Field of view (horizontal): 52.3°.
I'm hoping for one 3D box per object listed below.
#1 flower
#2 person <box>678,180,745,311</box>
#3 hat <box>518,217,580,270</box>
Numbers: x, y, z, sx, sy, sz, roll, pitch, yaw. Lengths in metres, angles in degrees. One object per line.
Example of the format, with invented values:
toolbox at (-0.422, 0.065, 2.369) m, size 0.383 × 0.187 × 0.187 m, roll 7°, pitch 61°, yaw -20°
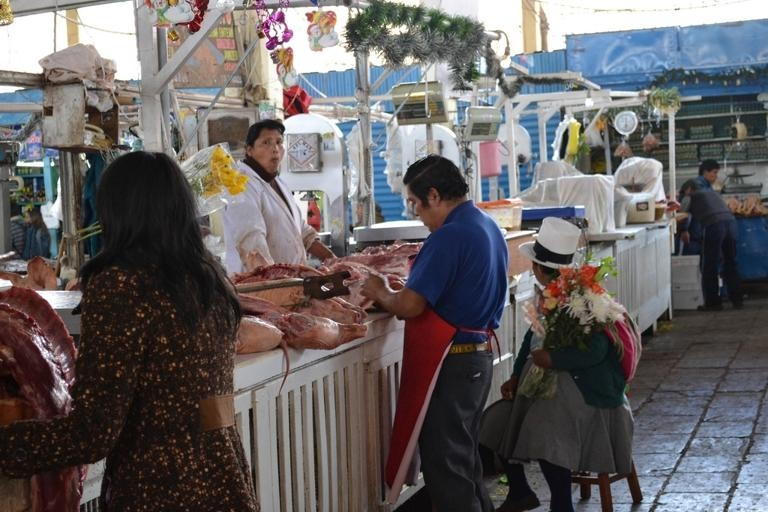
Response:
flower at (1.235, 0.505, 5.319) m, size 0.858 × 0.987 × 0.936 m, roll -7°, pitch -9°, yaw 25°
person at (4.981, -0.145, 11.945) m, size 0.727 × 1.785 × 0.944 m, roll -3°, pitch 6°, yaw 3°
hat at (1.086, -0.070, 5.168) m, size 0.346 × 0.185 × 0.350 m, roll 33°, pitch 32°, yaw 24°
